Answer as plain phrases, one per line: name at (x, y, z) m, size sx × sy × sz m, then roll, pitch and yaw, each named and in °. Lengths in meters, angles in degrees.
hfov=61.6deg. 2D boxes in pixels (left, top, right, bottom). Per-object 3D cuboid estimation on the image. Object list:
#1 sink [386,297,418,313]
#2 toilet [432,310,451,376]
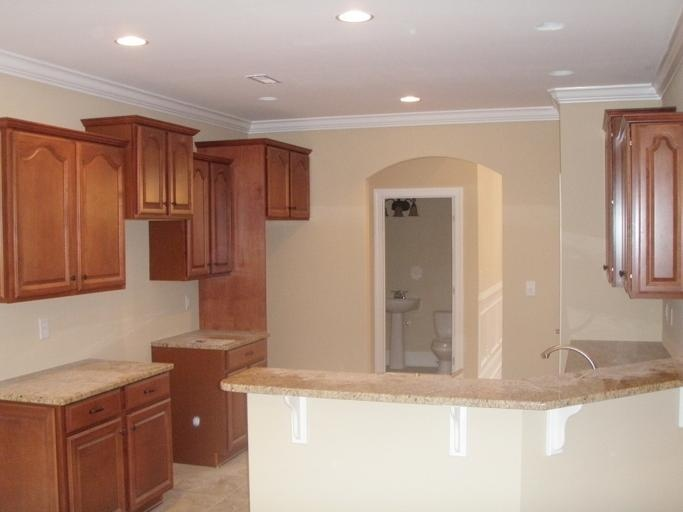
sink at (0.841, 0.673, 7.826) m, size 0.456 × 0.134 × 0.315 m, roll -1°, pitch -1°, yaw 6°
toilet at (1.354, 1.163, 7.706) m, size 0.266 × 0.605 × 0.394 m, roll -1°, pitch -1°, yaw 10°
